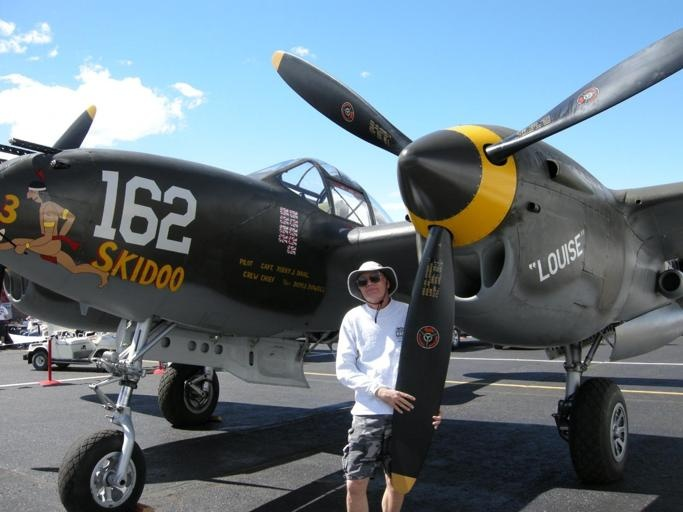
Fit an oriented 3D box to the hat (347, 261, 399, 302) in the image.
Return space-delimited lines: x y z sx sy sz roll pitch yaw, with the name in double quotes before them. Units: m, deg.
"hat" 0.266 0.185 5.042 0.404 0.175 0.485 -3 -49 7
